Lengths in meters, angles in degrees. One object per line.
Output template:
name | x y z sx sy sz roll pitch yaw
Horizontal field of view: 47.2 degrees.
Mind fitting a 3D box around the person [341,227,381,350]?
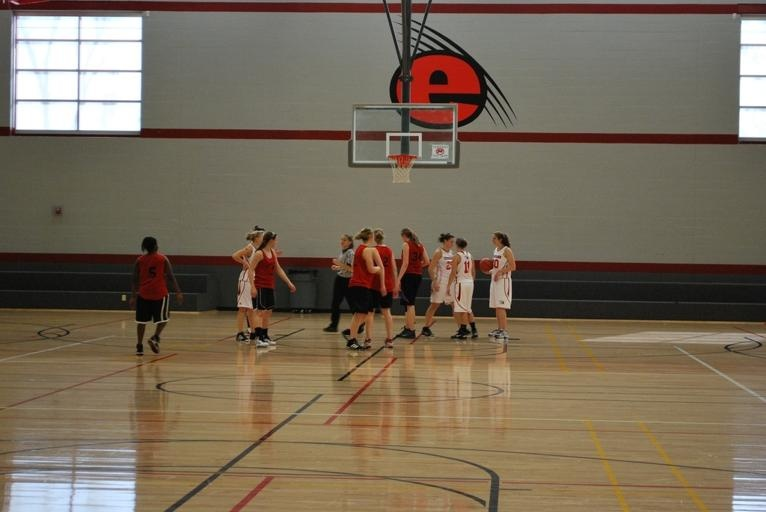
person | -0.323 0.587 14.728 0.573 2.120 0.693 0 15 -2

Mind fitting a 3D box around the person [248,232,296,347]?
person | -1.925 0.588 14.929 0.614 1.995 1.048 -1 15 -7

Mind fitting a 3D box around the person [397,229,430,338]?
person | 0.554 0.560 16.291 0.573 2.177 1.230 2 15 2

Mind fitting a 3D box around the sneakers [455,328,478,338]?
sneakers | 1.532 1.434 16.354 0.542 0.201 0.170 1 -1 -7

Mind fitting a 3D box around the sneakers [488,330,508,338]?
sneakers | 2.131 1.434 16.219 0.281 0.102 0.144 2 -5 -16

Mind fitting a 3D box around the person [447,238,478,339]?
person | 1.508 0.611 16.331 0.555 1.972 0.832 2 15 5

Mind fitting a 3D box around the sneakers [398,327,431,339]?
sneakers | 0.580 1.440 16.380 0.721 0.269 0.228 1 -1 -5

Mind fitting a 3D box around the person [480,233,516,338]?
person | 2.152 0.594 16.141 0.426 1.987 0.604 1 15 1

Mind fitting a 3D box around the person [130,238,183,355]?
person | -3.745 0.643 14.475 0.715 2.001 0.955 -3 15 -14
